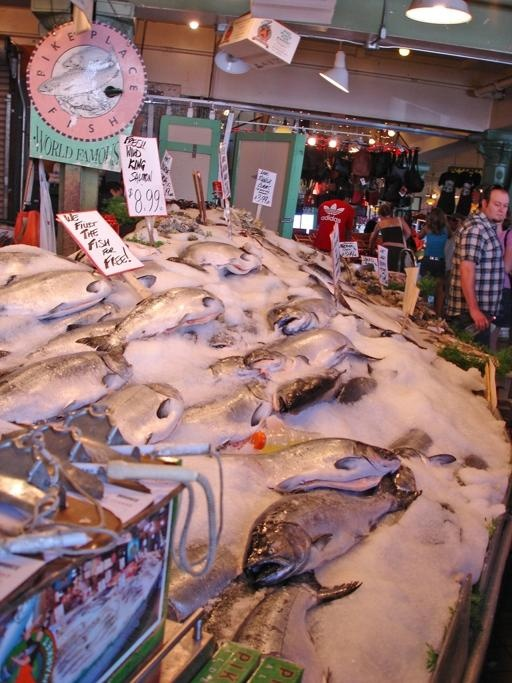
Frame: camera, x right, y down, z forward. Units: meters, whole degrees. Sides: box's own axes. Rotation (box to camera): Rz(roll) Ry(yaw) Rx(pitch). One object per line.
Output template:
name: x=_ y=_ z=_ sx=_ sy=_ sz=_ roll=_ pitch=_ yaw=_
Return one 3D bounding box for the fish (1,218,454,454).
fish: x=-0.158 y=0.057 z=3.160 sx=1.635 sy=0.272 sz=2.054 roll=32 pitch=22 yaw=21
